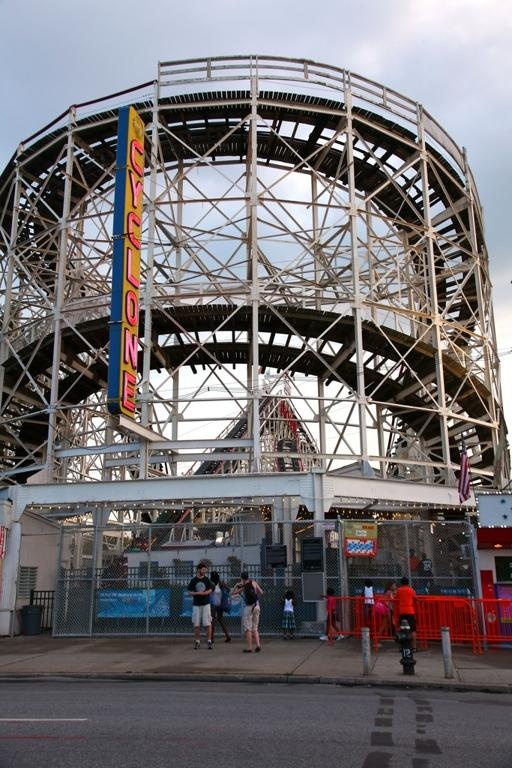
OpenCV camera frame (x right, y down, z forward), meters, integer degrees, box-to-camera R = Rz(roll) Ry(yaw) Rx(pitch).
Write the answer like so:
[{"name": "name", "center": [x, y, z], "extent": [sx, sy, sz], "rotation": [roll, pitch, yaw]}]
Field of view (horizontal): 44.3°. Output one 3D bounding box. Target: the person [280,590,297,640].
[{"name": "person", "center": [0.861, 6.184, 16.977], "extent": [0.361, 1.199, 1.028], "rotation": [-3, -16, 2]}]

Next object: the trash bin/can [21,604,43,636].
[{"name": "trash bin/can", "center": [-7.056, 7.447, 19.874], "extent": [0.881, 0.891, 0.801], "rotation": [3, -35, -16]}]

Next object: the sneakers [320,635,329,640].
[{"name": "sneakers", "center": [1.789, 6.684, 16.606], "extent": [0.255, 0.060, 0.171], "rotation": [1, -4, 2]}]

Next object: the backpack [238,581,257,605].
[{"name": "backpack", "center": [-0.156, 4.643, 14.059], "extent": [0.339, 0.538, 0.446], "rotation": [-2, -16, -1]}]

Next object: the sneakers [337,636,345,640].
[{"name": "sneakers", "center": [2.196, 6.586, 16.397], "extent": [0.152, 0.115, 0.239], "rotation": [-17, -24, -6]}]
